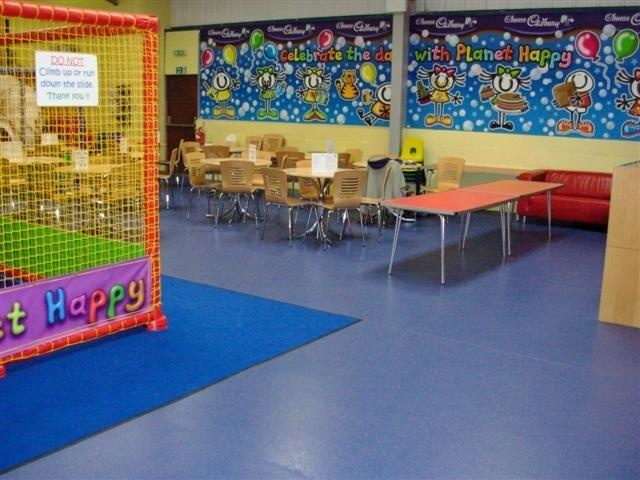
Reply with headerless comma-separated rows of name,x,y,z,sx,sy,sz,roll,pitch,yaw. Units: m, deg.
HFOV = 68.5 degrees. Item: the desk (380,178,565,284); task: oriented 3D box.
desk,2.275,-0.250,6.766,1.566,0.929,3.879,12,17,36
